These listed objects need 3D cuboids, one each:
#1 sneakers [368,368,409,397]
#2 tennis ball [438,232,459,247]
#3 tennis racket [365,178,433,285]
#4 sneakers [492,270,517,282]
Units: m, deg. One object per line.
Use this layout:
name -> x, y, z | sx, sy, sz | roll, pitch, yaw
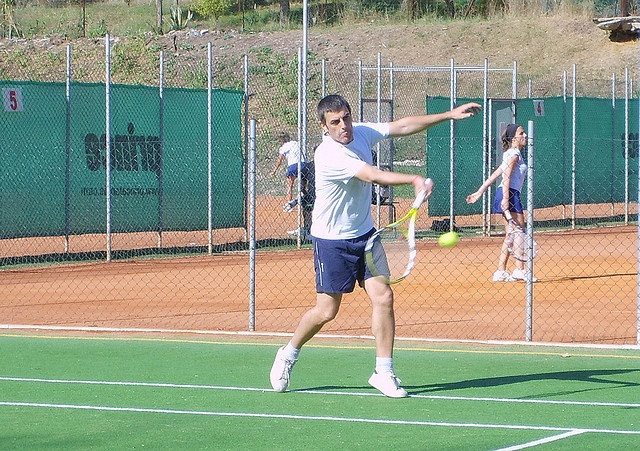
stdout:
sneakers -> 0.824, 1.939, 13.565 | 0.536, 0.246, 0.232 | 24, 17, 20
tennis ball -> 1.493, 0.179, 12.999 | 0.214, 0.189, 0.278 | -2, 6, 5
tennis racket -> 1.047, 0.006, 13.840 | 0.664, 0.118, 1.756 | 6, 49, 24
sneakers -> 3.104, 0.867, 18.648 | 0.414, 0.174, 0.157 | 0, 14, -9
